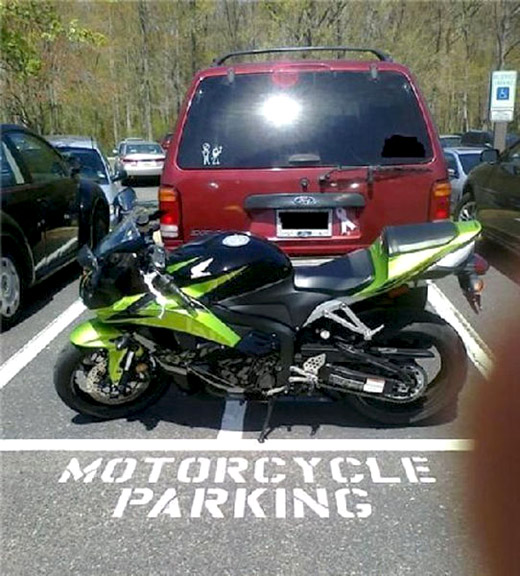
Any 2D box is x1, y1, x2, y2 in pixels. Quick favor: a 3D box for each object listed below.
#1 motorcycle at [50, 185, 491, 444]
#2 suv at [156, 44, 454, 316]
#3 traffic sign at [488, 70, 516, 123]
[{"bbox_3d":[-0.019,0.222,2.540,2.417,1.237,0.809,0,21,4],"label":"motorcycle"},{"bbox_3d":[0.362,-1.646,4.894,2.302,1.886,3.706,0,34,2],"label":"suv"},{"bbox_3d":[5.714,-4.523,10.689,0.529,1.198,0.682,2,11,24],"label":"traffic sign"}]
